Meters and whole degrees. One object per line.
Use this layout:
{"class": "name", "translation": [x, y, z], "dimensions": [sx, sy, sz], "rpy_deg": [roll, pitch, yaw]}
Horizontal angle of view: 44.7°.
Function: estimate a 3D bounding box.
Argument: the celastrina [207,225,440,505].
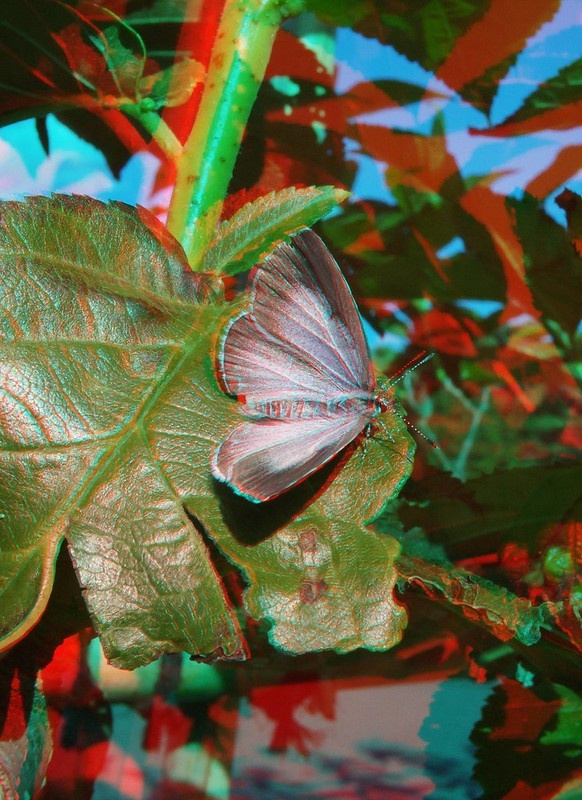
{"class": "celastrina", "translation": [0.009, -0.013, 0.473], "dimensions": [0.123, 0.137, 0.184], "rpy_deg": [22, 44, 2]}
